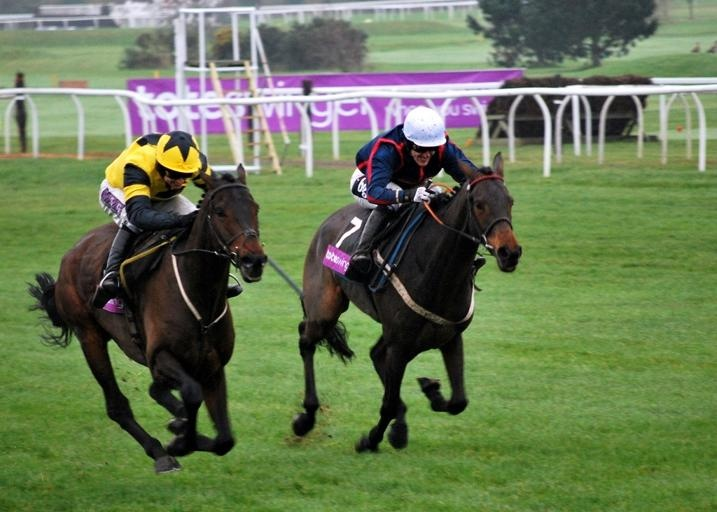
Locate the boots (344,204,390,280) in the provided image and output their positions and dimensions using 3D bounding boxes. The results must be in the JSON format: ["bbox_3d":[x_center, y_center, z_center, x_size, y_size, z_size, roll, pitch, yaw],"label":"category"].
[{"bbox_3d":[0.111,-0.149,9.627,0.248,0.673,0.223,30,-23,-15],"label":"boots"}]

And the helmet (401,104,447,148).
[{"bbox_3d":[0.490,-1.030,9.499,0.313,0.169,0.355,-7,32,-23],"label":"helmet"}]

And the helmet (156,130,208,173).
[{"bbox_3d":[-1.352,-0.779,9.162,0.329,0.164,0.398,-6,37,-36],"label":"helmet"}]

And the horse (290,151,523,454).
[{"bbox_3d":[0.348,0.375,9.458,2.016,2.293,0.760,4,10,36],"label":"horse"}]

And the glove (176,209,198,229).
[{"bbox_3d":[-1.316,-0.282,9.077,0.124,0.134,0.052,13,-3,14],"label":"glove"}]

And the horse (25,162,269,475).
[{"bbox_3d":[-1.492,0.458,9.178,1.703,2.267,0.710,4,10,36],"label":"horse"}]
